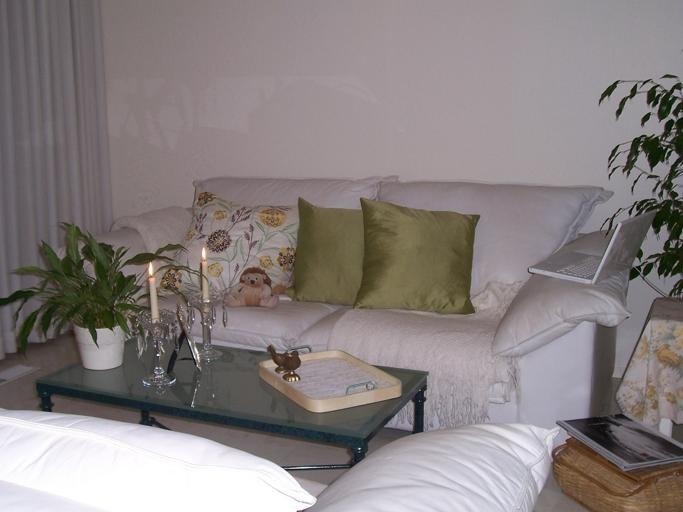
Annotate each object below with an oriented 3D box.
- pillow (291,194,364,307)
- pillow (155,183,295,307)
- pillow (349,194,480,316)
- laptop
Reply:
[{"bbox_3d":[-0.068,-0.003,2.611,0.444,0.445,0.161,12,6,27],"label":"pillow"},{"bbox_3d":[-0.504,-0.051,2.706,0.522,0.500,0.162,4,-11,24],"label":"pillow"},{"bbox_3d":[0.283,-0.023,2.523,0.484,0.544,0.140,-8,41,12],"label":"pillow"},{"bbox_3d":[0.940,-0.002,2.083,0.415,0.246,0.330,-25,27,-37],"label":"laptop"}]
